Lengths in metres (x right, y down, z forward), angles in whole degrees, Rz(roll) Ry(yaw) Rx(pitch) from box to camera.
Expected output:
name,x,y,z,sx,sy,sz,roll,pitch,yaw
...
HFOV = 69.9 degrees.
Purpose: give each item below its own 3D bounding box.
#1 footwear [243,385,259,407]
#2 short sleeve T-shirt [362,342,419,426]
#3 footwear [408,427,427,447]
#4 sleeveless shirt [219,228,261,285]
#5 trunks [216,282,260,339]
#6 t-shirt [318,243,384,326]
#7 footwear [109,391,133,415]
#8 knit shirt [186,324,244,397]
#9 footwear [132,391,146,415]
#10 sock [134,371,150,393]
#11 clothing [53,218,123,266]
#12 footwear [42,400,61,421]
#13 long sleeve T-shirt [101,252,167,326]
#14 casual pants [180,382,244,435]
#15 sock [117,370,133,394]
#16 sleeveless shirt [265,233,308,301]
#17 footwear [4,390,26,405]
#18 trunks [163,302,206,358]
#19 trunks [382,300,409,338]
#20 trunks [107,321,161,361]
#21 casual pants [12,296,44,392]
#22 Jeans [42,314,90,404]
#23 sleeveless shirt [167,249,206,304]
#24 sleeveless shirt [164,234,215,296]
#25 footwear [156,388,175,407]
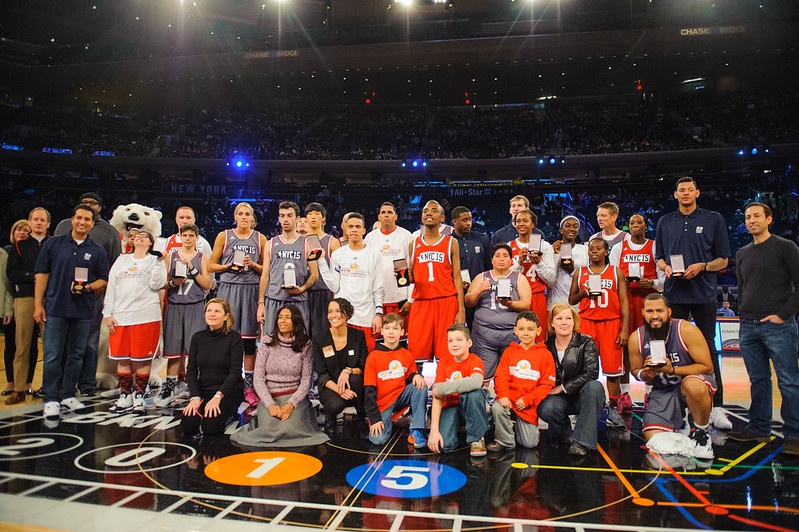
name,x,y,z,sx,sy,sz,roll,pitch,yaw
footwear,-2.511,2.199,9.661,0.285,0.352,0.129,-16,-12,-7
short sleeve T-shirt,-0.127,1.815,8.847,0.953,1.091,0.750,-11,22,-23
footwear,0.261,2.527,8.446,0.318,0.253,0.206,-2,-3,13
sleeveless shirt,-2.879,-0.197,10.374,0.790,0.982,0.535,4,-1,-26
trunks,-2.903,0.767,10.294,0.821,1.070,0.596,1,1,-34
t-shirt,-0.795,0.331,9.620,1.185,1.483,0.860,-5,-16,17
footwear,-4.611,2.247,9.455,0.377,0.282,0.346,-1,-3,-14
knit shirt,-2.957,1.557,9.148,0.844,1.118,0.761,-1,3,9
footwear,-4.299,2.243,9.421,0.157,0.182,0.428,5,-7,-18
sock,-4.355,1.964,9.642,0.212,0.363,0.253,0,-4,-33
clothing,-5.731,-0.518,10.457,1.270,0.467,1.087,8,-42,-33
footwear,-5.524,2.276,9.088,0.237,0.267,0.340,0,-4,-32
long sleeve T-shirt,-4.459,0.376,9.700,0.990,1.199,0.609,0,-5,-2
casual pants,-2.830,2.272,8.881,0.467,0.263,0.843,20,39,13
sock,-4.568,1.941,9.544,0.190,0.403,0.396,6,-38,-15
sleeveless shirt,-1.965,0.024,9.961,0.704,1.155,0.342,-2,-3,16
footwear,-6.488,2.207,9.651,0.287,0.198,0.243,1,-4,-34
trunks,-3.676,1.102,9.723,0.856,1.120,0.480,4,-12,-28
trunks,-0.063,0.916,10.059,0.420,0.624,0.956,-1,-3,0
trunks,-4.489,1.243,9.641,0.836,0.601,0.477,0,0,1
casual pants,-6.438,1.343,9.794,0.326,1.623,0.244,0,-3,-19
Jeans,-5.493,1.552,9.436,0.661,1.815,0.427,1,-49,-25
sleeveless shirt,-3.728,0.185,9.969,0.634,0.955,0.741,-1,-3,-18
sleeveless shirt,-3.726,-0.003,10.103,1.132,1.175,0.415,2,-8,1
footwear,-3.982,2.220,9.676,0.310,0.285,0.261,-1,-3,-8
